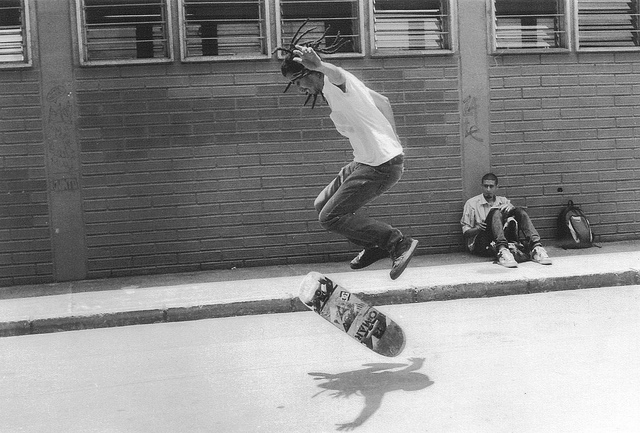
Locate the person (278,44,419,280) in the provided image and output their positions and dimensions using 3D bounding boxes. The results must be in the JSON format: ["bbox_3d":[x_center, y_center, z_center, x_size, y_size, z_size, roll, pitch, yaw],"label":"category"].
[{"bbox_3d":[0.423,-0.641,12.716,1.382,2.850,0.787,-5,8,-7],"label":"person"}]

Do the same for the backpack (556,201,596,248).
[{"bbox_3d":[4.149,0.137,16.815,0.570,0.737,0.309,-1,8,15],"label":"backpack"}]
